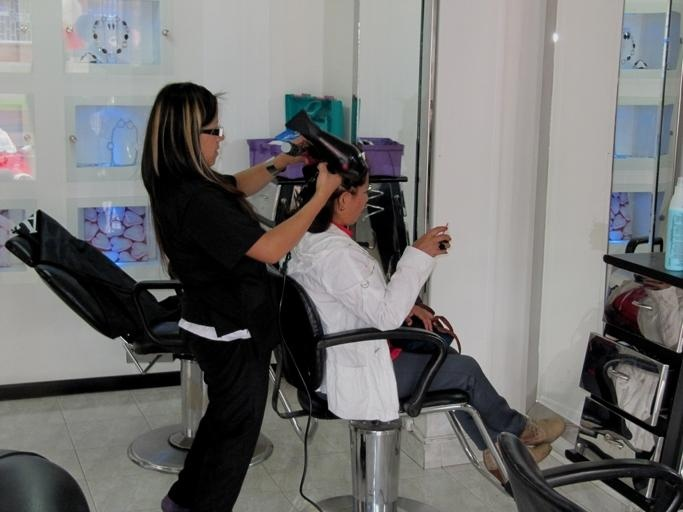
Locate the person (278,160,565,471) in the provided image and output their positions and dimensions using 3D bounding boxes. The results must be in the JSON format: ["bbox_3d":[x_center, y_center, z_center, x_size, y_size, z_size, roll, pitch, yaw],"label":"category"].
[{"bbox_3d":[0.370,0.235,2.358,1.012,1.273,0.546,-3,10,-5],"label":"person"}]

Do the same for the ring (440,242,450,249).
[{"bbox_3d":[0.372,-0.033,2.178,0.026,0.022,0.011,-2,7,-33],"label":"ring"}]

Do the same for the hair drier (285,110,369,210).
[{"bbox_3d":[-0.059,-0.373,2.150,0.395,0.170,0.125,35,38,31],"label":"hair drier"}]
